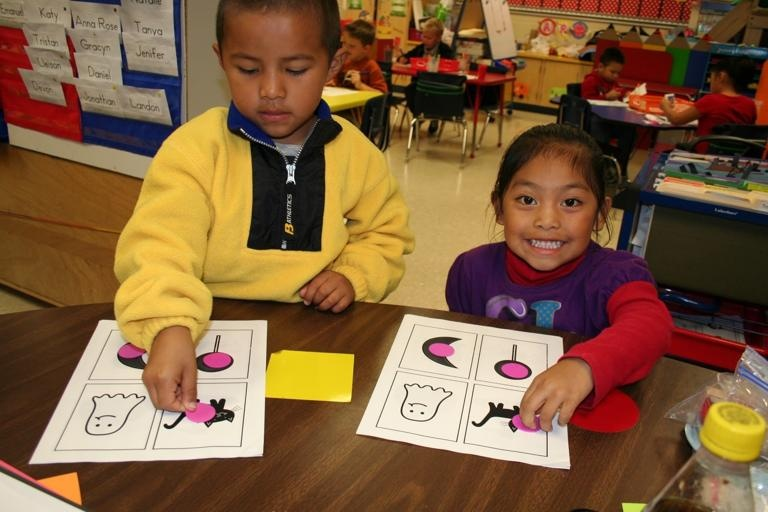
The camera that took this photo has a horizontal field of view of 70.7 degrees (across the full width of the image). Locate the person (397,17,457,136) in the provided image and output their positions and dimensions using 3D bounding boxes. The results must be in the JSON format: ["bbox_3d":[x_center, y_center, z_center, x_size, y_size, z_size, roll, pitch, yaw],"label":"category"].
[{"bbox_3d":[0.536,-2.251,6.536,0.655,1.474,0.790,3,-4,35],"label":"person"}]

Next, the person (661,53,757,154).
[{"bbox_3d":[2.555,-1.216,4.208,0.676,0.597,0.967,18,31,28],"label":"person"}]
